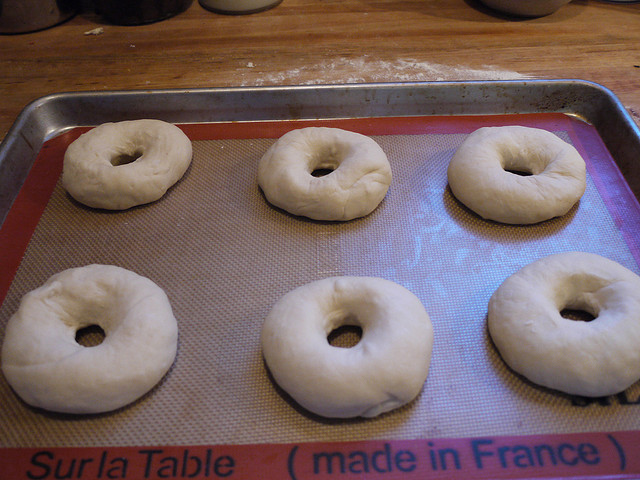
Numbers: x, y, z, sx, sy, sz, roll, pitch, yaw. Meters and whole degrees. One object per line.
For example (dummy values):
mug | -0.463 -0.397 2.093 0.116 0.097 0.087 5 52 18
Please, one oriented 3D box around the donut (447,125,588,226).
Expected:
donut | 0.854 -0.283 2.481 0.451 0.147 0.470 -25 49 -14
